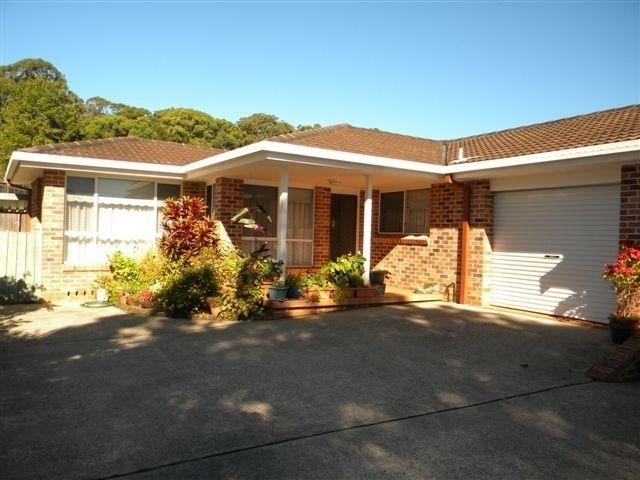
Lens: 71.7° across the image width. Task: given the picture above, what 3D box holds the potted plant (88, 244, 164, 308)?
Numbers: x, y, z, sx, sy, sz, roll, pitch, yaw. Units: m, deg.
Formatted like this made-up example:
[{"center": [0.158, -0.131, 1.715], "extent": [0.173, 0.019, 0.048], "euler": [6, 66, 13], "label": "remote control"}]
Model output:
[{"center": [-5.115, 0.941, 11.953], "extent": [1.603, 1.073, 1.521], "euler": [2, 5, -21], "label": "potted plant"}]

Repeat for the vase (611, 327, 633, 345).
[{"center": [5.543, 1.750, 8.219], "extent": [0.361, 0.252, 0.362], "euler": [3, -1, 26], "label": "vase"}]

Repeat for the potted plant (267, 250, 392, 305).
[{"center": [0.197, 0.896, 11.083], "extent": [3.035, 1.161, 0.933], "euler": [-1, 5, -35], "label": "potted plant"}]
